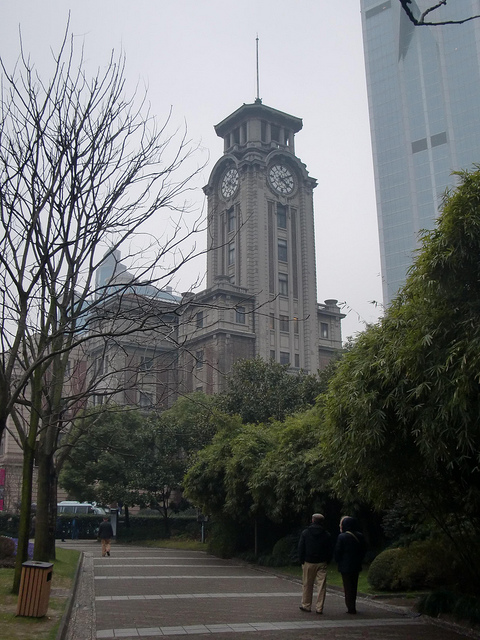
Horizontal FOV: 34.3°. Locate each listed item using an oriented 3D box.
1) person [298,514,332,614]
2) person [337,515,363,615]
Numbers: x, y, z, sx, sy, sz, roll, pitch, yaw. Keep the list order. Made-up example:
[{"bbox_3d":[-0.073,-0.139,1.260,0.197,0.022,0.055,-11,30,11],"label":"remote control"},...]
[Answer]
[{"bbox_3d":[1.280,4.205,13.576,0.571,1.582,1.381,-1,-14,6],"label":"person"},{"bbox_3d":[1.864,4.159,13.261,0.429,1.562,1.039,-2,-13,7],"label":"person"}]
